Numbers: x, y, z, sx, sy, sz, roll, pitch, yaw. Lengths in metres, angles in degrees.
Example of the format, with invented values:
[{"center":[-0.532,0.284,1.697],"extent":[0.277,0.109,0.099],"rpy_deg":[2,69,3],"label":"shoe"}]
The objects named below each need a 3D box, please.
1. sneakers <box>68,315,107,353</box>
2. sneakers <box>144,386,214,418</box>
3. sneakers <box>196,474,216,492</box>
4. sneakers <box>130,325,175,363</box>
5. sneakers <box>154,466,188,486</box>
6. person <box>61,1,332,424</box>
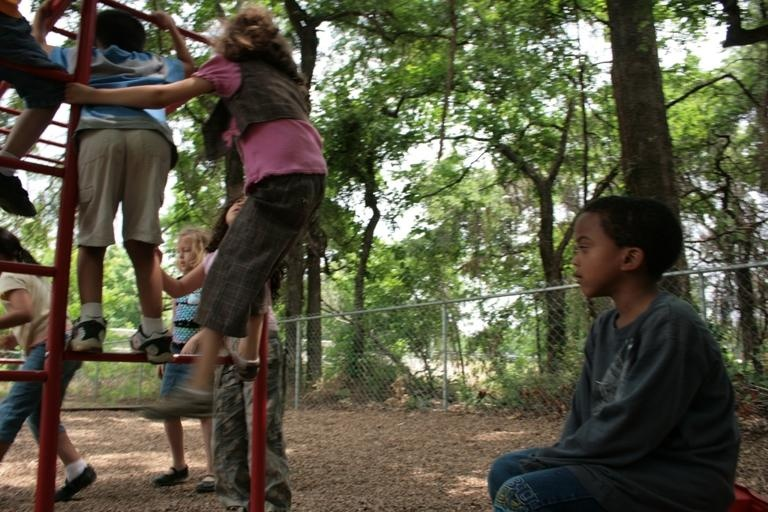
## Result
[{"center":[-1.592,0.428,3.542],"extent":[0.182,0.184,0.150],"rpy_deg":[0,-7,-21],"label":"sneakers"},{"center":[-1.126,0.795,3.559],"extent":[0.427,0.128,0.146],"rpy_deg":[3,-9,-11],"label":"sneakers"},{"center":[-1.406,1.817,5.264],"extent":[0.119,0.073,0.201],"rpy_deg":[0,-10,7],"label":"sneakers"},{"center":[-1.308,0.500,3.719],"extent":[0.216,0.210,0.138],"rpy_deg":[0,-7,-20],"label":"sneakers"},{"center":[-1.750,1.846,5.518],"extent":[0.278,0.088,0.128],"rpy_deg":[8,-11,-39],"label":"sneakers"},{"center":[-0.867,-0.307,3.693],"extent":[1.114,2.361,0.390],"rpy_deg":[-2,-8,-7],"label":"person"}]
